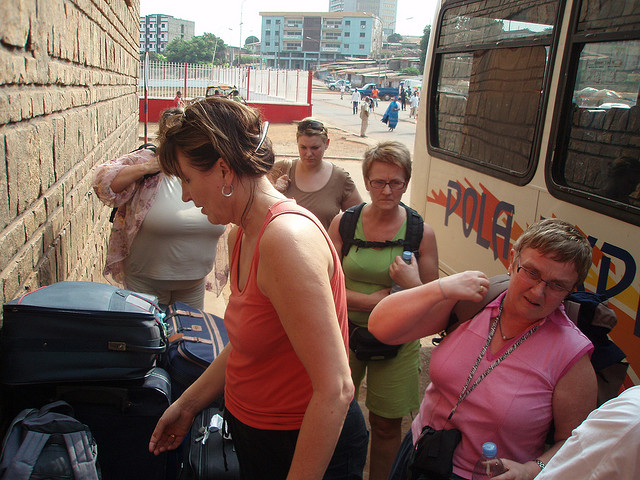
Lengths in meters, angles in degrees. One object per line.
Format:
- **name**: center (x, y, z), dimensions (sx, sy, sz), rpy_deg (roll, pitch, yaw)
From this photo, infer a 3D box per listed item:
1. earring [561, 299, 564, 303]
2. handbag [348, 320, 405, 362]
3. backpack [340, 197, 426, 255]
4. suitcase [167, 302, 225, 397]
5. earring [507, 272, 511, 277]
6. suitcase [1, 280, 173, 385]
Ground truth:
- **earring**: center (1.109, 0.272, 2.010), dimensions (0.023, 0.006, 0.023), rpy_deg (-7, -2, -15)
- **handbag**: center (0.403, 0.697, 3.156), dimensions (0.385, 0.222, 0.533), rpy_deg (-2, 0, 2)
- **backpack**: center (0.450, -0.165, 3.317), dimensions (0.426, 0.593, 0.423), rpy_deg (0, -5, 1)
- **suitcase**: center (-0.751, 0.655, 2.584), dimensions (0.452, 0.153, 0.481), rpy_deg (17, 30, -20)
- **earring**: center (0.926, 0.163, 2.159), dimensions (0.019, 0.029, 0.009), rpy_deg (11, -2, -36)
- **suitcase**: center (-1.040, 0.408, 1.994), dimensions (0.440, 0.268, 0.491), rpy_deg (5, 5, -8)
